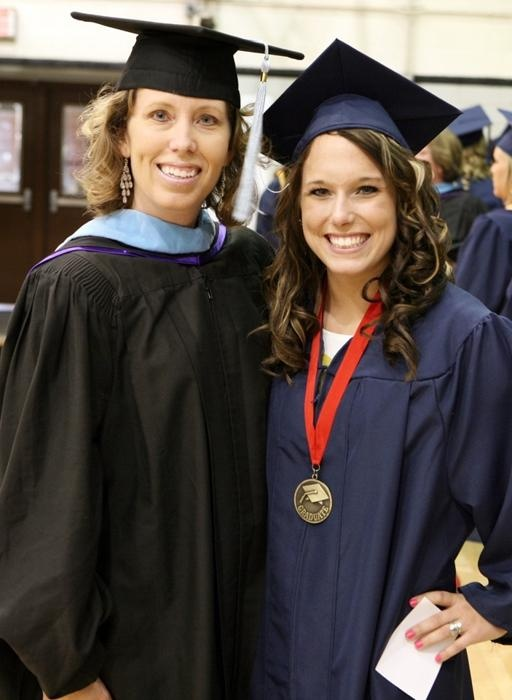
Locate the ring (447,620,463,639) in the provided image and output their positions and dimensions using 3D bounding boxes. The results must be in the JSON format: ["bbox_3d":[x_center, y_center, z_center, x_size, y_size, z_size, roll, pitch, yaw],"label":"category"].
[{"bbox_3d":[0.404,0.567,1.497,0.027,0.032,0.011,3,38,0],"label":"ring"}]

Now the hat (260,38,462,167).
[{"bbox_3d":[0.198,-0.550,1.737,0.363,0.348,0.096,30,49,-19],"label":"hat"}]

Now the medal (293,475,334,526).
[{"bbox_3d":[0.127,0.327,1.594,0.124,0.117,0.018,7,-6,43],"label":"medal"}]

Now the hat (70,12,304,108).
[{"bbox_3d":[-0.142,-0.660,1.777,0.589,0.212,0.200,15,24,28],"label":"hat"}]
